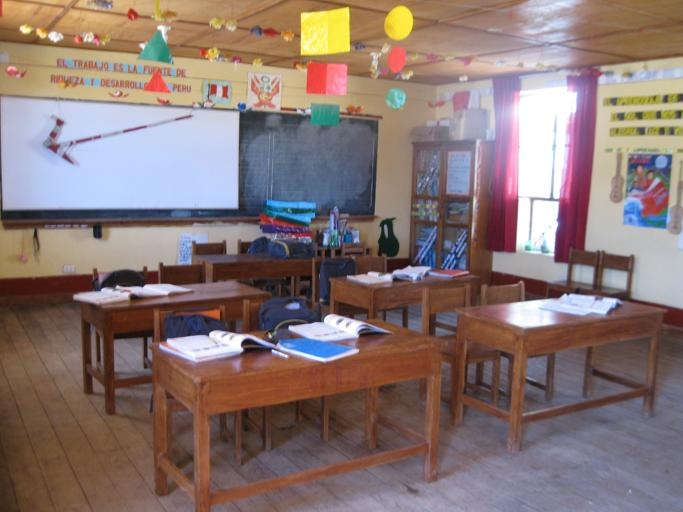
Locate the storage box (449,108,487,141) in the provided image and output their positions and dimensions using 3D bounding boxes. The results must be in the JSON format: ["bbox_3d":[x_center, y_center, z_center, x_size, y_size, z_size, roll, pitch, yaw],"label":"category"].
[{"bbox_3d":[1.917,-1.964,8.249,0.576,0.574,0.316,11,14,42],"label":"storage box"}]

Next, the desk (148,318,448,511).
[{"bbox_3d":[-0.262,0.977,3.383,1.722,0.988,0.629,-6,11,-24],"label":"desk"}]

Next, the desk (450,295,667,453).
[{"bbox_3d":[1.781,0.883,4.483,1.665,0.894,0.731,-2,6,-28],"label":"desk"}]

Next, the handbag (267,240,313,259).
[{"bbox_3d":[-0.573,-0.072,6.254,0.347,0.147,0.262,-1,6,-38],"label":"handbag"}]

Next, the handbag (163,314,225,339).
[{"bbox_3d":[-0.979,0.457,3.634,0.222,0.075,0.225,5,1,41],"label":"handbag"}]
